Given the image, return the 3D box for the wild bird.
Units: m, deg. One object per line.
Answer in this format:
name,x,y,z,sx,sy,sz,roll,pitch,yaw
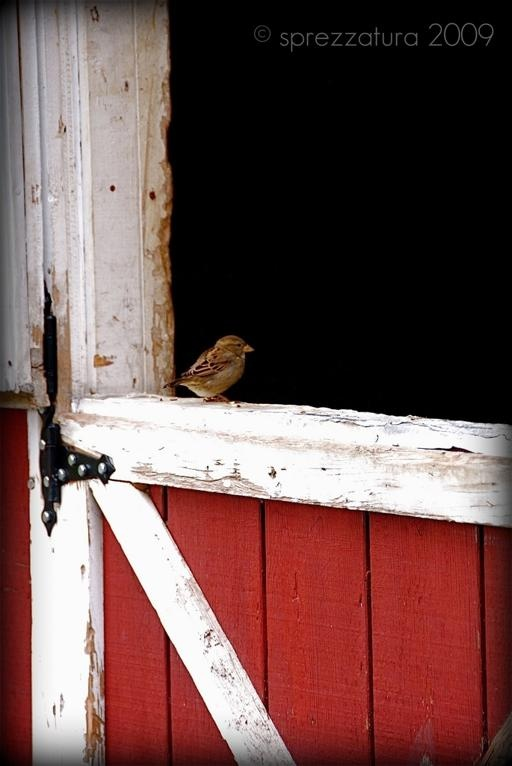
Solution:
wild bird,-0.128,-0.041,2.777,0.255,0.202,0.101,2,-13,-20
